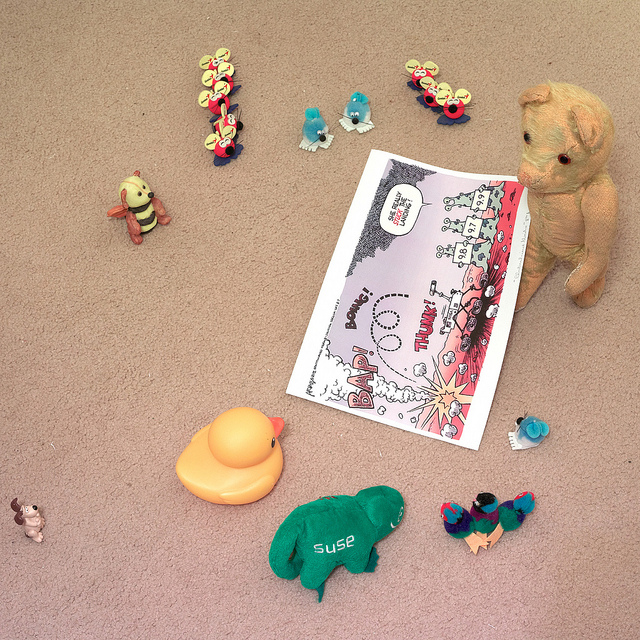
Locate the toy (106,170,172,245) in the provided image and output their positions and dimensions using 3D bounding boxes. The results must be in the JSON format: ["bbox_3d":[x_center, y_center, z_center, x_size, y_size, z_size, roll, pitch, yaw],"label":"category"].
[{"bbox_3d":[-0.224,-0.143,1.005,0.053,0.074,0.084,24,56,21],"label":"toy"}]

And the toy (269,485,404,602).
[{"bbox_3d":[0.021,0.232,0.890,0.133,0.068,0.088,-20,52,-10],"label":"toy"}]

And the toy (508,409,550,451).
[{"bbox_3d":[0.232,0.126,0.904,0.039,0.044,0.036,-20,74,7],"label":"toy"}]

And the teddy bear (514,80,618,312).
[{"bbox_3d":[0.262,-0.120,0.867,0.116,0.216,0.120,-41,58,-6],"label":"teddy bear"}]

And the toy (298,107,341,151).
[{"bbox_3d":[-0.005,-0.250,1.041,0.045,0.049,0.046,-14,57,-8],"label":"toy"}]

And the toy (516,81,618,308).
[{"bbox_3d":[0.255,-0.121,0.875,0.093,0.276,0.105,-16,40,-9],"label":"toy"}]

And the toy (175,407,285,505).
[{"bbox_3d":[-0.096,0.153,0.882,0.106,0.064,0.098,-31,62,-14],"label":"toy"}]

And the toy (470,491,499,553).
[{"bbox_3d":[0.179,0.210,0.880,0.030,0.045,0.025,-26,42,-19],"label":"toy"}]

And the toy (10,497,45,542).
[{"bbox_3d":[-0.319,0.213,0.884,0.027,0.052,0.030,-3,29,-5],"label":"toy"}]

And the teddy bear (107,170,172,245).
[{"bbox_3d":[-0.223,-0.143,1.005,0.051,0.074,0.077,28,57,24],"label":"teddy bear"}]

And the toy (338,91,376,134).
[{"bbox_3d":[0.046,-0.271,1.054,0.045,0.042,0.039,-13,40,-4],"label":"toy"}]
